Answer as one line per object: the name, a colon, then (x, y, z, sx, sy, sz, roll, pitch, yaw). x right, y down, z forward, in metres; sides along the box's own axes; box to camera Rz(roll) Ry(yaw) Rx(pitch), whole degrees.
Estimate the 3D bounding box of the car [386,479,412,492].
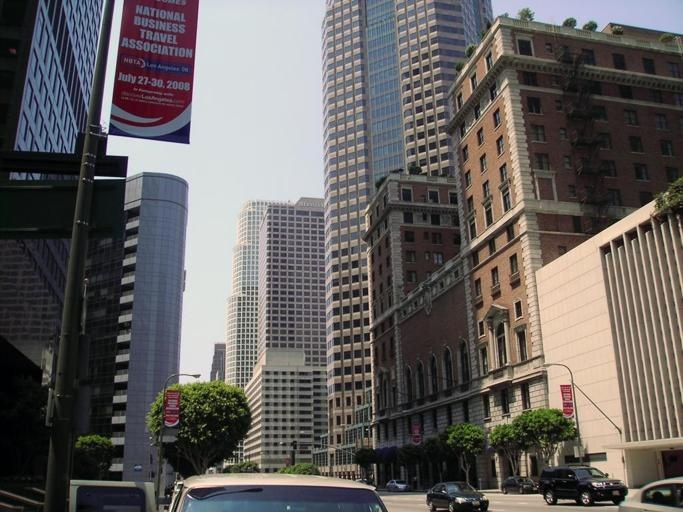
car: (6.822, 27.684, 79.267, 1.432, 1.136, 3.263, 8, -27, -26)
